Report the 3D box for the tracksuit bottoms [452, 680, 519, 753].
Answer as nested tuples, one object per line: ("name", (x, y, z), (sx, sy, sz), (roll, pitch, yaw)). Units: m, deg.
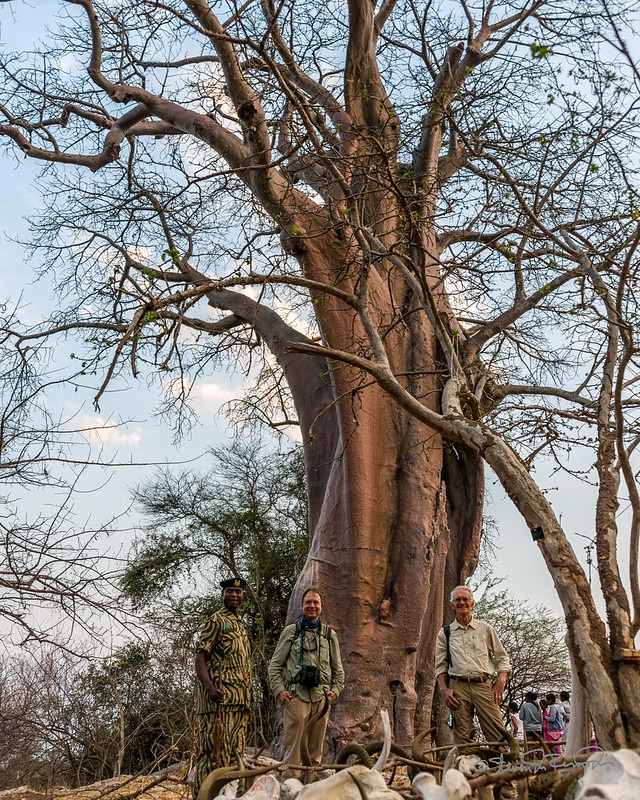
("tracksuit bottoms", (1.036, 2.042, 6.021), (0.333, 0.388, 0.409), (0, -22, 7))
